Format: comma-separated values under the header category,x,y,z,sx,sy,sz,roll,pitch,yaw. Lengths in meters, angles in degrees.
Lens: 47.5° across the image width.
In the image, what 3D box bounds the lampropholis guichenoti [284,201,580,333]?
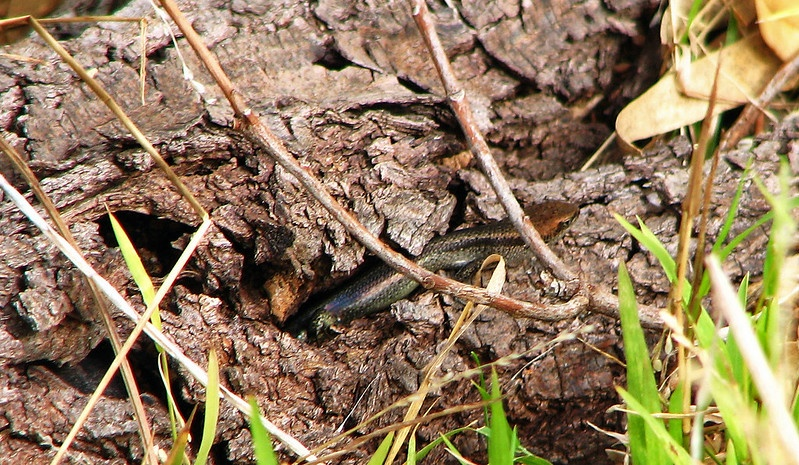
category,x,y,z,sx,sy,sz,roll,pitch,yaw
lampropholis guichenoti,0.142,0.197,4.893,1.194,0.146,0.324,-22,17,-9
